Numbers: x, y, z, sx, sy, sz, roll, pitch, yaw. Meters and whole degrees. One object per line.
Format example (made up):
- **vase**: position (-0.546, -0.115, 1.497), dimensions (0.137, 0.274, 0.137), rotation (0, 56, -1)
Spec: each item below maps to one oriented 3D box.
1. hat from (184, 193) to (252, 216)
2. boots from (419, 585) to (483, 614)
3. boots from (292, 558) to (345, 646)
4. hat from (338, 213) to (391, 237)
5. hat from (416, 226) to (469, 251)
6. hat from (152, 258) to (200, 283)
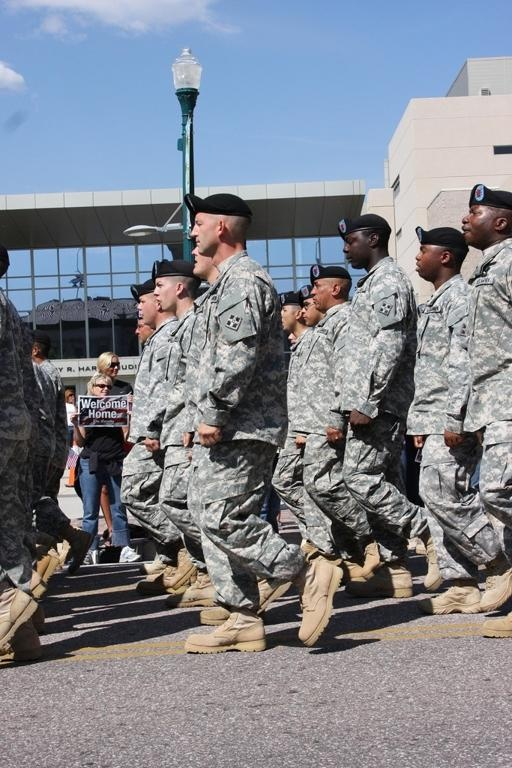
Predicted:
- **hat**: position (-0.187, -0.908, 4.667), dimensions (0.258, 0.075, 0.155), rotation (12, 4, 2)
- **boots**: position (1.118, 1.240, 5.306), dimensions (0.398, 0.156, 0.137), rotation (1, -6, 1)
- **boots**: position (0.307, 1.029, 4.378), dimensions (0.173, 0.358, 0.284), rotation (-2, 5, 13)
- **hat**: position (0.714, -1.057, 6.135), dimensions (0.288, 0.112, 0.205), rotation (4, 1, 17)
- **hat**: position (1.224, -0.935, 5.952), dimensions (0.321, 0.102, 0.221), rotation (13, 6, 13)
- **hat**: position (-0.588, -0.836, 6.727), dimensions (0.323, 0.099, 0.227), rotation (2, 0, 8)
